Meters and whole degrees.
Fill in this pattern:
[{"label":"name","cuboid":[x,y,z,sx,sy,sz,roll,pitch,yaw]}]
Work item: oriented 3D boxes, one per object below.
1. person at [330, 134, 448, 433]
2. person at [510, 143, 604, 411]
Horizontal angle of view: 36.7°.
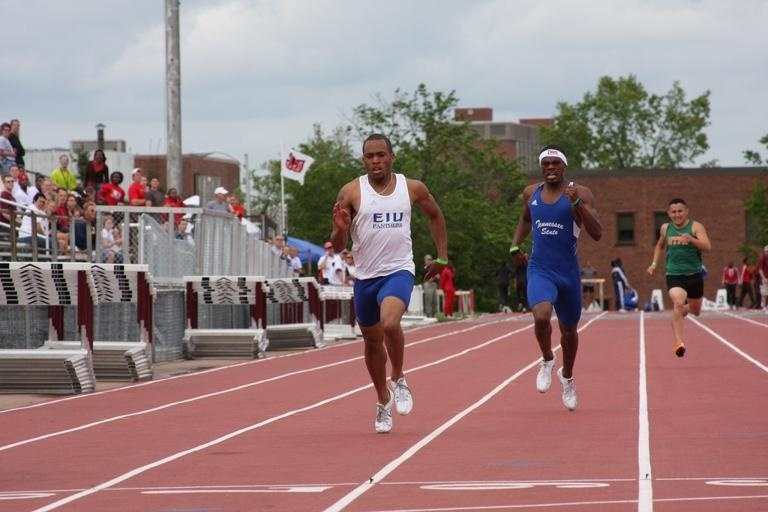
[{"label":"person","cuboid":[0.070,0.276,12.518,1.158,3.233,1.499,-2,2,2]},{"label":"person","cuboid":[1.910,0.231,13.750,1.200,2.787,1.359,0,0,15]}]
